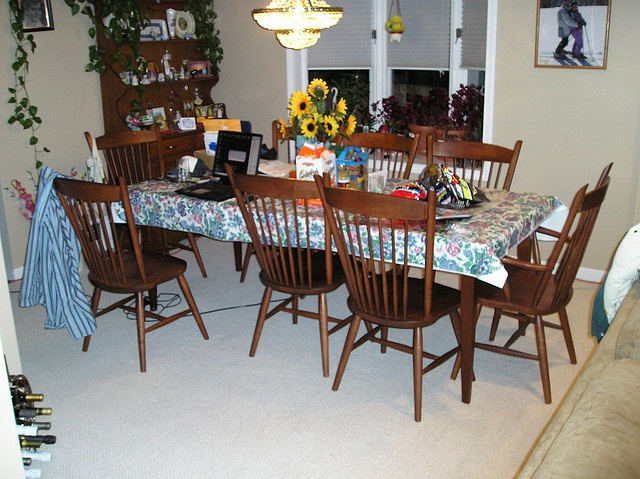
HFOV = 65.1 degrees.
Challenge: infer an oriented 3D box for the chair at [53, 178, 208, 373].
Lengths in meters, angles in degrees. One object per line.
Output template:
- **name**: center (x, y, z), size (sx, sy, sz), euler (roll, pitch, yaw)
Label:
- **chair**: center (-1.114, 0.139, 3.038), size (0.602, 1.129, 0.727), euler (12, 19, 33)

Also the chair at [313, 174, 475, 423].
- **chair**: center (0.407, 0.256, 2.636), size (0.669, 1.170, 0.758), euler (5, 16, 26)

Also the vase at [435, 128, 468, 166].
- **vase**: center (1.043, -0.727, 3.900), size (0.233, 0.198, 0.233), euler (-17, 25, -34)

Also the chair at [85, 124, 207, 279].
- **chair**: center (-1.387, -0.091, 3.958), size (0.634, 0.998, 0.598), euler (-25, -2, 8)

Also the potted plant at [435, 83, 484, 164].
- **potted plant**: center (1.172, -1.050, 4.325), size (0.373, 0.673, 0.411), euler (-2, -2, -33)

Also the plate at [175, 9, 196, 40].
- **plate**: center (-1.316, -2.099, 4.929), size (0.045, 0.242, 0.227), euler (7, 7, 41)

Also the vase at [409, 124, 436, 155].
- **vase**: center (0.759, -0.748, 3.717), size (0.226, 0.246, 0.236), euler (2, 15, 8)

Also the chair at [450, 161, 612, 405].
- **chair**: center (1.084, 0.218, 2.661), size (0.627, 1.104, 0.699), euler (-11, 18, -26)

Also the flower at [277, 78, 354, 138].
- **flower**: center (-0.028, -0.806, 3.206), size (0.455, 0.430, 0.539), euler (-2, 22, -5)

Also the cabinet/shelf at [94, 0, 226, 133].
- **cabinet/shelf**: center (-1.505, -1.609, 4.614), size (0.359, 1.253, 1.276), euler (14, 31, 30)

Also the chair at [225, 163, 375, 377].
- **chair**: center (-0.083, 0.125, 2.926), size (0.730, 1.167, 0.794), euler (1, 17, 9)

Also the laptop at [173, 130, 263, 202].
- **laptop**: center (-0.620, -0.474, 3.115), size (0.491, 0.377, 0.463), euler (-13, 23, -37)
